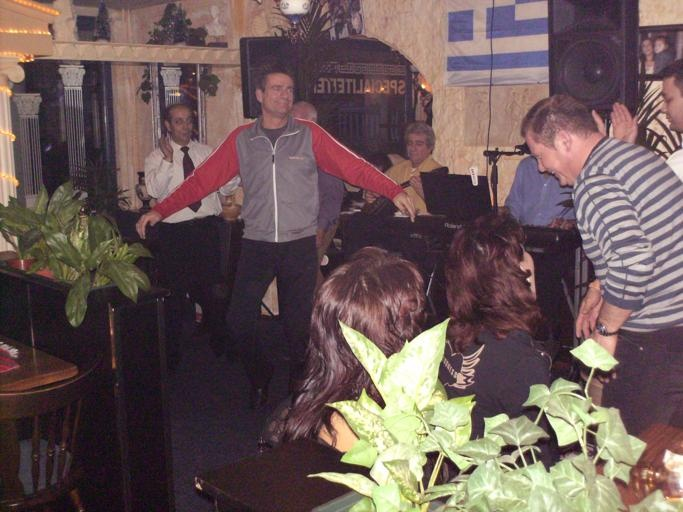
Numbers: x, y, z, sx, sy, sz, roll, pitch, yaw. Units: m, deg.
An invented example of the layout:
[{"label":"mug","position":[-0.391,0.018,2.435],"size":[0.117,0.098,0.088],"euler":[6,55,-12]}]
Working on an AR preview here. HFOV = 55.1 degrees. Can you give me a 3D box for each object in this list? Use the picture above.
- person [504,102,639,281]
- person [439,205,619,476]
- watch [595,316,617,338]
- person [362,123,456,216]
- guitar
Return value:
[{"label":"person","position":[1.862,-0.617,5.159],"size":[0.685,1.470,1.243],"euler":[-2,-1,-23]},{"label":"person","position":[0.588,0.251,2.490],"size":[0.405,0.788,0.526],"euler":[1,6,12]},{"label":"watch","position":[1.103,0.299,2.748],"size":[0.069,0.043,0.065],"euler":[8,20,-15]},{"label":"person","position":[0.633,-0.699,5.868],"size":[0.147,1.088,0.504],"euler":[20,1,-41]},{"label":"guitar","position":[0.305,-0.320,5.560],"size":[0.709,0.353,1.266],"euler":[-7,0,-25]}]
